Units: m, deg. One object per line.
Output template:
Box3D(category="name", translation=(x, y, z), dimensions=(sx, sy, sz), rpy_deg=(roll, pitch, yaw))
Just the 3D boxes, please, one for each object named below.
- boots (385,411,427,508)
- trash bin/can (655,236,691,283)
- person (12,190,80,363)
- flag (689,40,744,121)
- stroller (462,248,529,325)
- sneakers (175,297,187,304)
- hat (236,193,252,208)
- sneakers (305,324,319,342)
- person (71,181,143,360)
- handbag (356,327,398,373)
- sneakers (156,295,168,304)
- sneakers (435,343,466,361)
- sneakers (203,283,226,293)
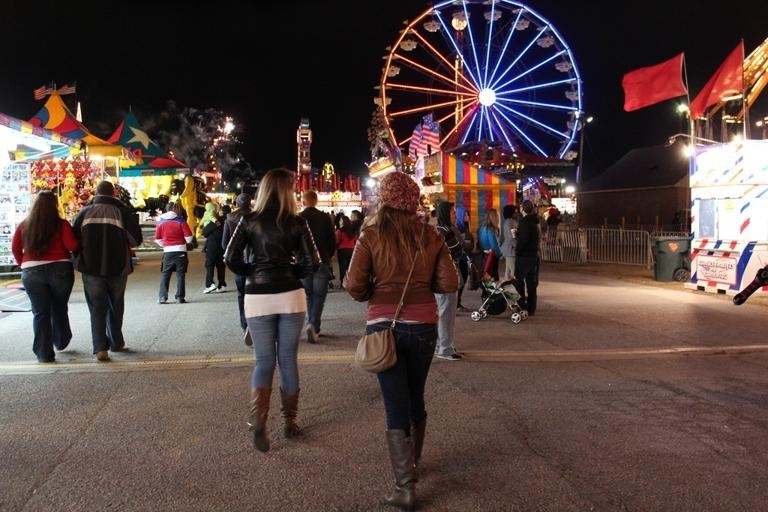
Box3D(category="boots", translation=(0.164, 1.763, 4.758), dimensions=(0.279, 0.655, 0.434), rpy_deg=(3, 6, 9))
Box3D(category="trash bin/can", translation=(7.839, 0.047, 14.884), dimensions=(1.055, 1.350, 1.119), rpy_deg=(3, -1, 15))
Box3D(category="person", translation=(-4.616, 0.260, 7.547), dimensions=(0.716, 2.302, 0.602), rpy_deg=(-2, 7, -32))
Box3D(category="flag", translation=(8.681, -4.502, 14.347), dimensions=(1.163, 1.679, 1.261), rpy_deg=(6, 7, 31))
Box3D(category="stroller", translation=(2.102, 0.648, 10.684), dimensions=(1.215, 1.543, 1.025), rpy_deg=(0, 1, 9))
Box3D(category="sneakers", translation=(-4.291, 0.905, 11.649), dimensions=(0.218, 0.112, 0.305), rpy_deg=(0, 7, -16))
Box3D(category="hat", translation=(-2.339, -0.934, 9.142), dimensions=(0.208, 0.253, 0.273), rpy_deg=(0, 43, -8))
Box3D(category="sneakers", translation=(-1.121, 1.203, 8.595), dimensions=(0.122, 0.355, 0.147), rpy_deg=(-4, 11, 12))
Box3D(category="person", translation=(-3.895, 0.175, 7.729), dimensions=(0.721, 2.448, 0.718), rpy_deg=(3, 6, 11))
Box3D(category="handbag", translation=(-0.059, 0.783, 4.616), dimensions=(0.334, 0.375, 0.189), rpy_deg=(2, 6, 3))
Box3D(category="sneakers", translation=(-4.658, 0.891, 11.603), dimensions=(0.185, 0.142, 0.270), rpy_deg=(-1, 7, -25))
Box3D(category="sneakers", translation=(0.915, 1.353, 7.719), dimensions=(0.410, 0.198, 0.165), rpy_deg=(3, -2, -2))
Box3D(category="sneakers", translation=(-4.110, 0.762, 13.206), dimensions=(0.556, 0.252, 0.229), rpy_deg=(-4, -5, 15))
